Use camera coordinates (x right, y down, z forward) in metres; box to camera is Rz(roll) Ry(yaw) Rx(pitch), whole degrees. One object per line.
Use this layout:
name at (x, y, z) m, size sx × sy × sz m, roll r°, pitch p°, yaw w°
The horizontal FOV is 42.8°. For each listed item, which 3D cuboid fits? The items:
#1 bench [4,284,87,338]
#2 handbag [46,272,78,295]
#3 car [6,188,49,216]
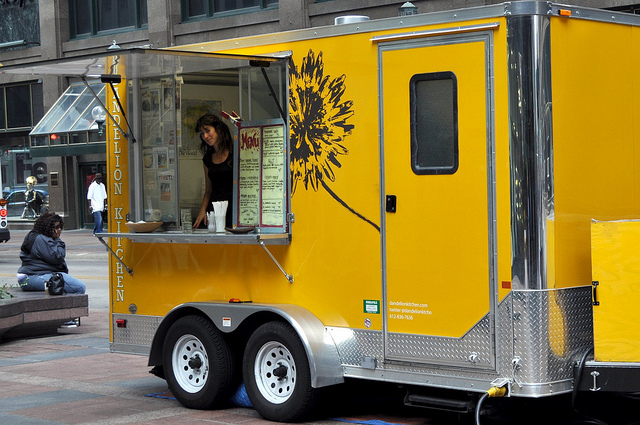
bench at (-4.619, 1.647, 13.407) m, size 0.894 × 0.815 × 1.659 m, roll 1°, pitch 5°, yaw 40°
handbag at (-4.374, 1.203, 13.663) m, size 0.312 × 0.297 × 0.238 m, roll -3°, pitch -8°, yaw 19°
car at (-13.341, -0.536, 37.167) m, size 1.963 × 0.957 × 1.147 m, roll 4°, pitch 2°, yaw 7°
